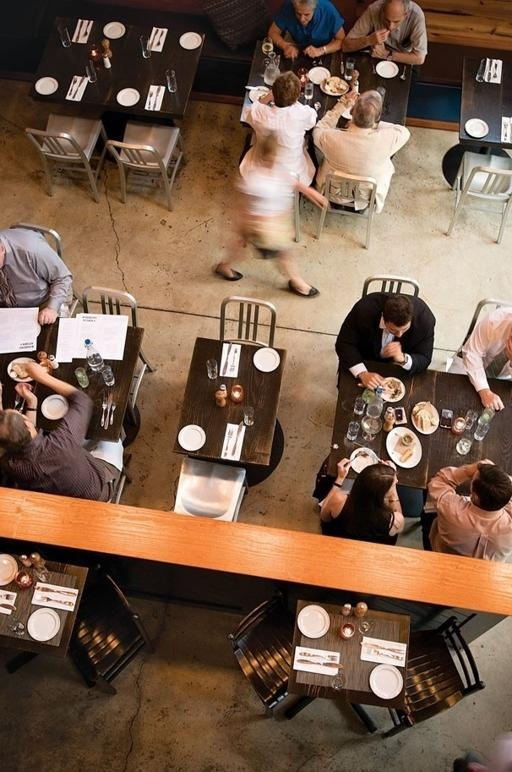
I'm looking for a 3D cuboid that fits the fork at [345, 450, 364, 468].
[{"bbox_3d":[0.561,0.416,3.261,0.061,0.017,0.103,24,88,19],"label":"fork"}]

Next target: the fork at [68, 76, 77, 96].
[{"bbox_3d":[-1.571,-2.561,4.866,0.027,0.022,0.204,20,77,1],"label":"fork"}]

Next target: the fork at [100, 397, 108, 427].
[{"bbox_3d":[-0.905,0.157,3.410,0.030,0.025,0.176,4,55,3],"label":"fork"}]

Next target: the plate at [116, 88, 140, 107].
[{"bbox_3d":[-1.076,-2.436,4.809,0.200,0.067,0.200,14,54,8],"label":"plate"}]

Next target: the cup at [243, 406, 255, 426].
[{"bbox_3d":[-0.045,0.179,3.408,0.066,0.088,0.063,1,71,-3],"label":"cup"}]

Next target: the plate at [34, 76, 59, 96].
[{"bbox_3d":[-1.795,-2.569,4.882,0.200,0.061,0.212,2,53,0],"label":"plate"}]

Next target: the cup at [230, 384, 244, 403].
[{"bbox_3d":[-0.115,0.044,3.508,0.093,0.105,0.096,0,71,-1],"label":"cup"}]

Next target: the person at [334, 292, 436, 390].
[{"bbox_3d":[0.819,-0.266,3.589,0.549,1.139,0.661,3,81,3],"label":"person"}]

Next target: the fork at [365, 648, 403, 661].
[{"bbox_3d":[0.566,1.205,2.551,0.122,0.010,0.047,8,75,-1],"label":"fork"}]

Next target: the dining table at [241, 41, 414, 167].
[{"bbox_3d":[0.827,-2.534,5.157,1.423,0.711,0.940,5,88,2],"label":"dining table"}]

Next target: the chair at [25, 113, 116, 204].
[{"bbox_3d":[-1.680,-2.056,5.202,0.567,1.050,0.733,9,83,-5],"label":"chair"}]

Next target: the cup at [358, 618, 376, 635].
[{"bbox_3d":[0.499,1.088,2.627,0.058,0.085,0.066,25,85,-14],"label":"cup"}]

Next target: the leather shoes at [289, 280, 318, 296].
[{"bbox_3d":[0.398,-0.825,4.862,0.228,0.055,0.119,25,86,12],"label":"leather shoes"}]

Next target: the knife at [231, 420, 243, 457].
[{"bbox_3d":[-0.096,0.307,3.389,0.034,0.014,0.282,10,61,15],"label":"knife"}]

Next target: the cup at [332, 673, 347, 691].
[{"bbox_3d":[0.363,1.286,2.487,0.045,0.022,0.061,4,78,-2],"label":"cup"}]

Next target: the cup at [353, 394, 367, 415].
[{"bbox_3d":[0.609,0.112,3.416,0.097,0.155,0.095,0,57,0],"label":"cup"}]

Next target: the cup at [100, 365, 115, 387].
[{"bbox_3d":[-0.911,-0.064,3.539,0.072,0.132,0.132,-16,56,-4],"label":"cup"}]

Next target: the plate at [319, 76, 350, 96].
[{"bbox_3d":[0.659,-2.516,4.781,0.204,0.053,0.209,-1,72,4],"label":"plate"}]

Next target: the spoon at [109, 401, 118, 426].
[{"bbox_3d":[-0.853,0.162,3.420,0.022,0.016,0.134,7,49,4],"label":"spoon"}]

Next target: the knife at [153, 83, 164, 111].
[{"bbox_3d":[-0.821,-2.439,4.793,0.061,0.012,0.237,3,68,3],"label":"knife"}]

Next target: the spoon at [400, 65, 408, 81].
[{"bbox_3d":[1.257,-2.665,4.844,0.046,0.027,0.157,3,54,9],"label":"spoon"}]

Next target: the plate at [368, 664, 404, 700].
[{"bbox_3d":[0.570,1.296,2.498,0.148,0.024,0.138,11,54,7],"label":"plate"}]

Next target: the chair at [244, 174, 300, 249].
[{"bbox_3d":[0.106,-1.357,4.359,0.459,0.615,0.349,3,46,4],"label":"chair"}]

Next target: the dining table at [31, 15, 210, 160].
[{"bbox_3d":[-1.214,-2.540,5.579,1.472,1.033,1.139,12,75,1],"label":"dining table"}]

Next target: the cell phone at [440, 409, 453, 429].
[{"bbox_3d":[1.122,0.192,3.364,0.068,0.109,0.111,9,90,12],"label":"cell phone"}]

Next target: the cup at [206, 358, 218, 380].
[{"bbox_3d":[-0.265,-0.106,3.542,0.071,0.118,0.117,4,66,3],"label":"cup"}]

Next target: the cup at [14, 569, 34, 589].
[{"bbox_3d":[-1.096,0.908,2.699,0.064,0.081,0.085,1,78,-2],"label":"cup"}]

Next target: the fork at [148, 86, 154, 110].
[{"bbox_3d":[-0.890,-2.443,4.813,0.032,0.027,0.232,2,77,2],"label":"fork"}]

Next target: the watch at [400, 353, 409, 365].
[{"bbox_3d":[0.912,-0.166,3.506,0.054,0.021,0.055,25,104,14],"label":"watch"}]

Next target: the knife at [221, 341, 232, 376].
[{"bbox_3d":[-0.198,-0.180,3.605,0.035,0.012,0.256,6,52,2],"label":"knife"}]

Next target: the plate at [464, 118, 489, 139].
[{"bbox_3d":[1.764,-2.069,4.566,0.192,0.063,0.205,12,54,8],"label":"plate"}]

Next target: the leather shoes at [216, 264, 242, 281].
[{"bbox_3d":[-0.232,-0.978,4.926,0.222,0.045,0.115,24,66,5],"label":"leather shoes"}]

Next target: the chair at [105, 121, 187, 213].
[{"bbox_3d":[-0.971,-2.076,5.022,0.523,0.965,0.600,16,78,2],"label":"chair"}]

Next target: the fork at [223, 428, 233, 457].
[{"bbox_3d":[-0.165,0.317,3.368,0.034,0.027,0.202,7,56,5],"label":"fork"}]

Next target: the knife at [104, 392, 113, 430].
[{"bbox_3d":[-0.882,0.139,3.428,0.046,0.017,0.202,6,59,2],"label":"knife"}]

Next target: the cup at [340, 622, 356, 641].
[{"bbox_3d":[0.415,1.103,2.573,0.056,0.064,0.065,-6,60,7],"label":"cup"}]

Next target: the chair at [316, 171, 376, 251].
[{"bbox_3d":[0.764,-1.507,4.664,0.452,0.783,0.500,10,78,6],"label":"chair"}]

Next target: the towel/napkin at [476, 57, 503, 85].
[{"bbox_3d":[1.977,-2.684,4.783,0.244,0.059,0.250,5,85,-3],"label":"towel/napkin"}]

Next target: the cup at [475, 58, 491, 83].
[{"bbox_3d":[1.926,-2.672,4.821,0.084,0.077,0.290,8,73,8],"label":"cup"}]

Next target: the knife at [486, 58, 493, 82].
[{"bbox_3d":[1.966,-2.666,4.820,0.036,0.026,0.251,5,79,4],"label":"knife"}]
